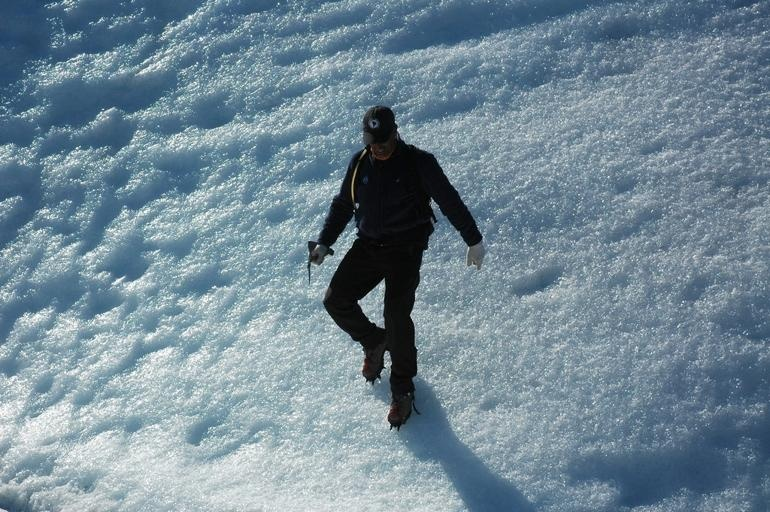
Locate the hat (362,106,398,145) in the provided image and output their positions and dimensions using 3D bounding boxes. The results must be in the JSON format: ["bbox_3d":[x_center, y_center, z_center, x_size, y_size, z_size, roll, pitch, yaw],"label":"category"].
[{"bbox_3d":[-0.074,-1.624,17.921,0.346,0.291,0.485,4,52,9],"label":"hat"}]

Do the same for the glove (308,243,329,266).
[{"bbox_3d":[-0.813,-0.024,18.572,0.304,0.183,0.277,13,96,-17],"label":"glove"}]
